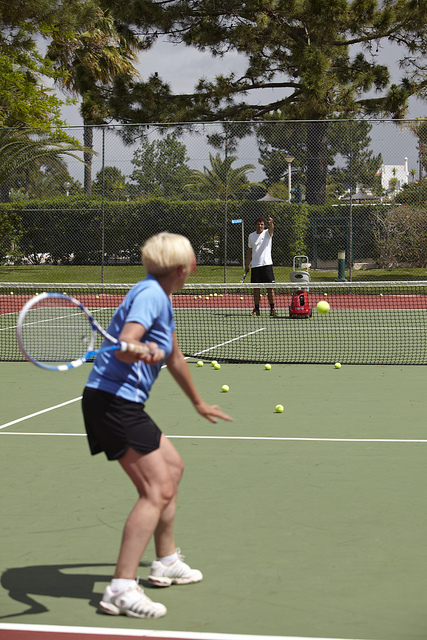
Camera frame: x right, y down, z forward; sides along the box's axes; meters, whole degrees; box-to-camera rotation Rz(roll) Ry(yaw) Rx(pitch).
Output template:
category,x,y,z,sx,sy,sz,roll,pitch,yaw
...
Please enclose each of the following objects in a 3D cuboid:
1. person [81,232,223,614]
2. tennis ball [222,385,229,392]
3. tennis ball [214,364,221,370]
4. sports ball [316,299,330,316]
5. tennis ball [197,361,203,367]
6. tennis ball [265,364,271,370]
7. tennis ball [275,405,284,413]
category,x,y,z,sx,sy,sz,roll,pitch,yaw
person,-0.203,0.352,2.306,0.484,1.277,0.974,-1,4,-8
tennis ball,0.136,0.660,6.524,0.052,0.052,0.062,-45,10,-26
tennis ball,0.055,0.551,8.077,0.052,0.048,0.058,19,-40,-6
sports ball,1.607,-0.203,9.795,0.226,0.232,0.215,-10,-14,-2
tennis ball,-0.159,0.532,8.210,0.063,0.066,0.059,3,14,-1
tennis ball,0.666,0.554,8.006,0.056,0.061,0.054,13,13,-3
tennis ball,0.550,0.731,5.581,0.057,0.062,0.056,0,10,0
